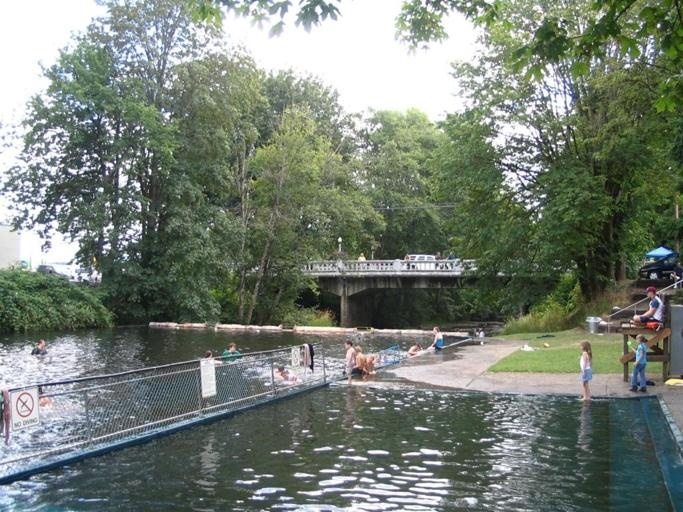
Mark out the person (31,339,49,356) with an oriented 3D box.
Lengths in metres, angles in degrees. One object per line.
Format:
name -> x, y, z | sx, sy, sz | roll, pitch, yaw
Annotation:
person -> -16.143, 4.885, 32.696 | 0.569, 1.043, 0.719 | 9, 3, 7

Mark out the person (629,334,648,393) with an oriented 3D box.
person -> 9.511, 3.413, 19.600 | 0.496, 1.896, 1.456 | 0, 1, 26

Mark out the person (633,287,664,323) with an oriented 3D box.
person -> 10.405, 1.643, 20.730 | 0.899, 1.282, 0.999 | -2, 3, 33

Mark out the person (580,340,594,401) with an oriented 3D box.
person -> 8.044, 3.682, 20.176 | 0.337, 1.878, 1.475 | 0, 1, 21

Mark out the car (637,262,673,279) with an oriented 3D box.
car -> 20.881, 0.963, 40.775 | 2.066, 1.071, 1.178 | 2, 0, 21

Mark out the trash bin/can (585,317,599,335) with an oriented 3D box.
trash bin/can -> 13.596, 3.760, 33.322 | 0.780, 0.888, 0.803 | 0, -5, -1
